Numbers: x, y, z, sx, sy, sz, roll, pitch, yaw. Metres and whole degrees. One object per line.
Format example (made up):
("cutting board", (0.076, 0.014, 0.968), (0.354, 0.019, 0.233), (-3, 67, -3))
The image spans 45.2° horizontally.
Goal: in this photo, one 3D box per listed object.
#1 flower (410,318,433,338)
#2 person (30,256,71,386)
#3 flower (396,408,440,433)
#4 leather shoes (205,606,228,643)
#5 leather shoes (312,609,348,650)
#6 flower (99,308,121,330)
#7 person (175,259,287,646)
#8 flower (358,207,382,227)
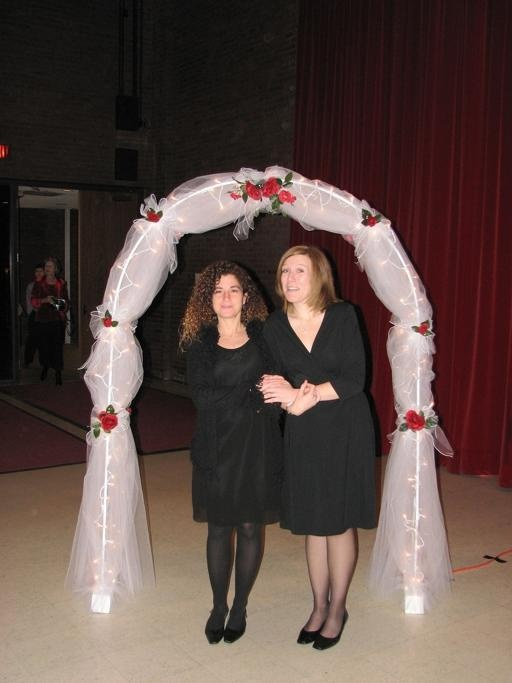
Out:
("flower", (0.717, -0.058, 2.590), (0.065, 0.069, 0.142), (4, 4, 40))
("person", (-2.667, -0.241, 7.962), (0.455, 1.625, 0.591), (0, 3, -21))
("flower", (0.673, 0.330, 2.576), (0.163, 0.096, 0.103), (2, 3, 14))
("leather shoes", (-0.147, 1.024, 2.222), (0.044, 0.059, 0.134), (-1, 7, 4))
("leather shoes", (0.256, 1.039, 2.188), (0.058, 0.033, 0.180), (2, 17, 26))
("flower", (-0.598, -0.094, 2.493), (0.065, 0.070, 0.033), (2, 14, -11))
("person", (-0.092, 0.399, 2.189), (0.357, 1.368, 0.258), (1, 3, -8))
("flower", (0.477, -0.509, 2.522), (0.089, 0.081, 0.053), (-1, 4, -35))
